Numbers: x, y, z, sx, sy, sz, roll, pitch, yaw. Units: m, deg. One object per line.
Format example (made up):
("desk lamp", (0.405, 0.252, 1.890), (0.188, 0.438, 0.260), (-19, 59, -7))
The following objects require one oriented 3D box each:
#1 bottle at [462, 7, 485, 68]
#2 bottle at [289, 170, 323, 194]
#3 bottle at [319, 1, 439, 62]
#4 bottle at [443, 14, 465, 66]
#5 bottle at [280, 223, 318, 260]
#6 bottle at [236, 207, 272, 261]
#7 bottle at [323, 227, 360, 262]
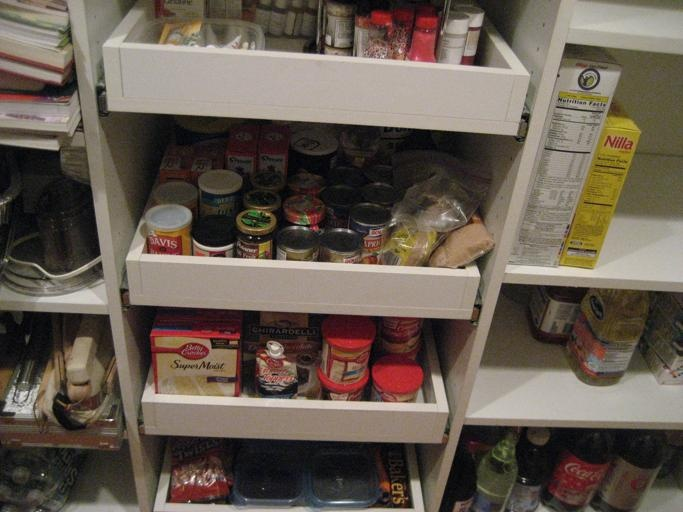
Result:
("bottle", (0.274, -0.462, 1.246), (0.037, 0.120, 0.164), (8, 28, 11))
("bottle", (-0.084, -0.179, 1.436), (0.059, 0.014, 0.059), (5, 42, -4))
("bottle", (0.052, -0.460, 1.249), (0.157, 0.060, 0.163), (3, 38, -3))
("bottle", (0.226, -0.436, 1.179), (0.045, 0.092, 0.054), (8, 27, 11))
("bottle", (-0.099, -0.017, 1.350), (0.073, 0.080, 0.073), (12, 50, -1))
("bottle", (-0.182, -0.048, 1.316), (0.092, 0.098, 0.096), (-4, 48, -8))
("bottle", (-0.001, -0.029, 1.323), (0.068, 0.045, 0.072), (4, 49, -5))
